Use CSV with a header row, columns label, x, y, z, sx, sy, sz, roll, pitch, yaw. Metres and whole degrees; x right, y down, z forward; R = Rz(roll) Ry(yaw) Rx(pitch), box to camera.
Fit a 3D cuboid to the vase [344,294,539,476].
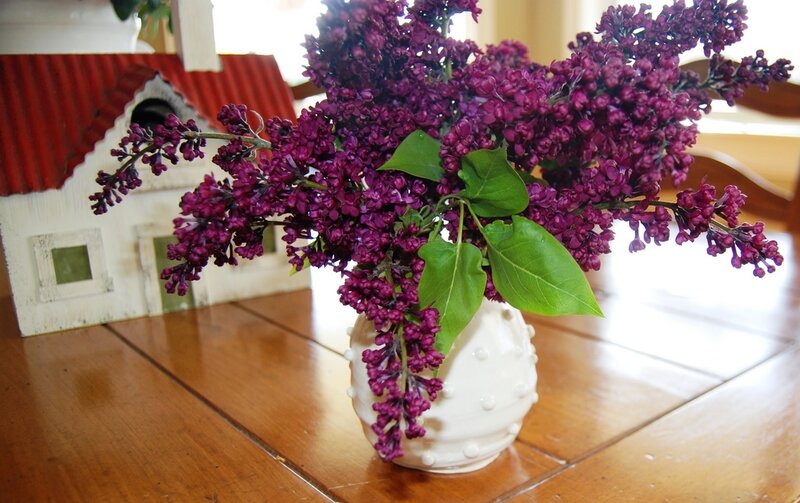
label,x,y,z,sx,sy,sz,roll,pitch,yaw
vase,0.072,0.165,0.984,0.269,0.260,0.272,1,7,21
